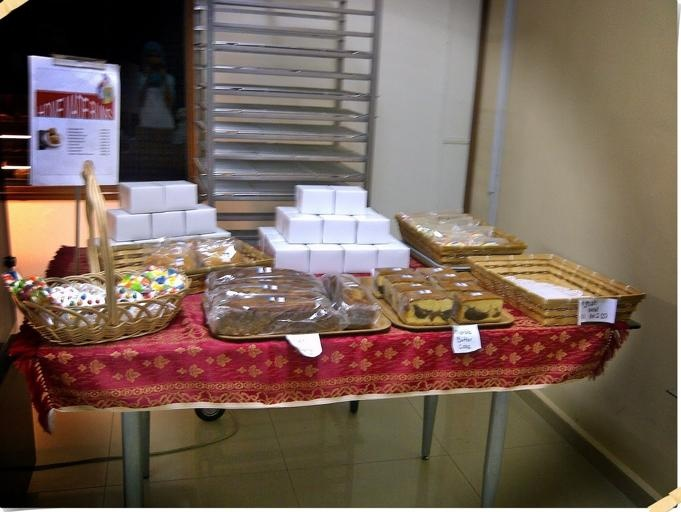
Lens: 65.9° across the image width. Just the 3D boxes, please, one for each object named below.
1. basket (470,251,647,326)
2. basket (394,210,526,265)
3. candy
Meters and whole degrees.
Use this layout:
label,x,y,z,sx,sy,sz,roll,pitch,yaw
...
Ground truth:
label,x,y,z,sx,sy,sz,roll,pitch,yaw
basket,0.992,0.139,2.526,0.539,0.098,0.503,-2,10,-15
basket,0.598,-0.135,2.947,0.393,0.127,0.503,-1,11,-17
candy,-0.951,0.133,2.082,0.500,0.125,0.310,-2,10,-30
